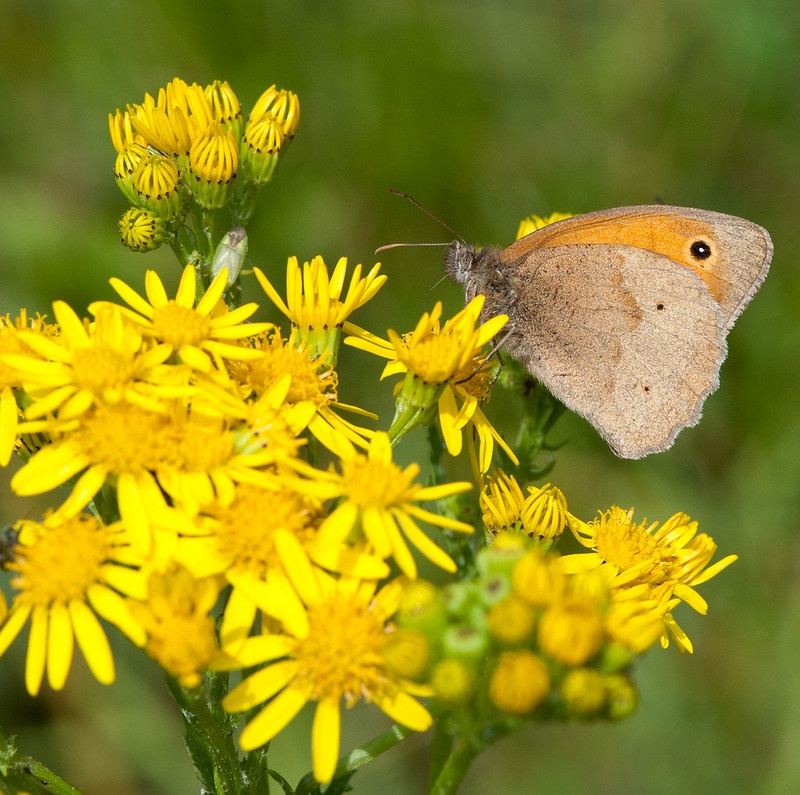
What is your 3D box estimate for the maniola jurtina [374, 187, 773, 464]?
[{"bbox_3d":[1.040,-0.531,6.147,1.645,1.015,1.653,20,16,-2],"label":"maniola jurtina"}]
